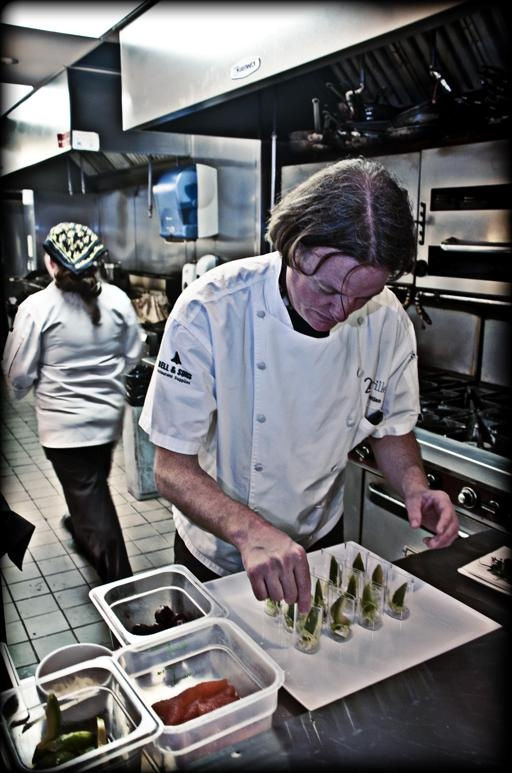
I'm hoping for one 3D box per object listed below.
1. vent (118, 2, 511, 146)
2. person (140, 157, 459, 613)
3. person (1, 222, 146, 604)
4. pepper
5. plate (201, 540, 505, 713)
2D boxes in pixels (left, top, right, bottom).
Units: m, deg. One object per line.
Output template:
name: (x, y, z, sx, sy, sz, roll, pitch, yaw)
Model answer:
vent: (0.357, -1.021, 2.083, 0.960, 0.271, 1.117, 3, 10, 43)
person: (0.108, 0.036, 1.149, 0.645, 0.872, 0.548, -2, 10, -40)
person: (-0.807, 0.099, 2.496, 0.603, 1.610, 0.330, 0, 9, -29)
pepper: (-0.206, 0.383, 0.601, 0.065, 0.068, 0.066, 2, 8, -13)
plate: (0.151, 0.382, 0.974, 0.410, 0.036, 0.354, 0, 9, -33)
